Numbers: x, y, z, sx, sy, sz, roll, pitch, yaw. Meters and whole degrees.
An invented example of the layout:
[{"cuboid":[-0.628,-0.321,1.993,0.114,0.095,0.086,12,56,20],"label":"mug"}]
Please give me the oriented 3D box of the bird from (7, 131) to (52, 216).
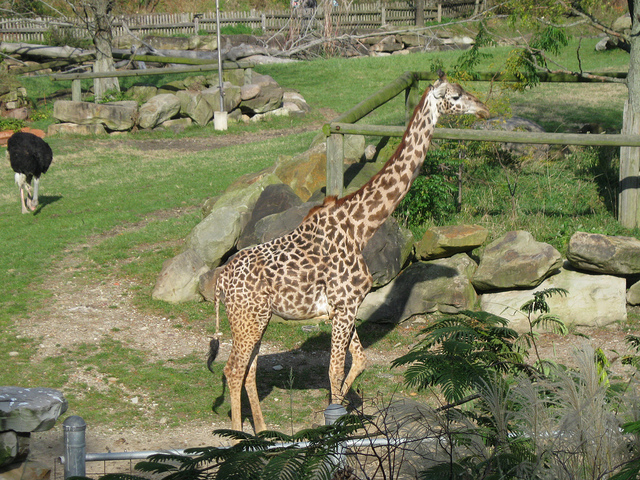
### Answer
[{"cuboid":[-8.109,-1.878,39.041,1.056,2.254,1.301,-1,9,11],"label":"bird"}]
